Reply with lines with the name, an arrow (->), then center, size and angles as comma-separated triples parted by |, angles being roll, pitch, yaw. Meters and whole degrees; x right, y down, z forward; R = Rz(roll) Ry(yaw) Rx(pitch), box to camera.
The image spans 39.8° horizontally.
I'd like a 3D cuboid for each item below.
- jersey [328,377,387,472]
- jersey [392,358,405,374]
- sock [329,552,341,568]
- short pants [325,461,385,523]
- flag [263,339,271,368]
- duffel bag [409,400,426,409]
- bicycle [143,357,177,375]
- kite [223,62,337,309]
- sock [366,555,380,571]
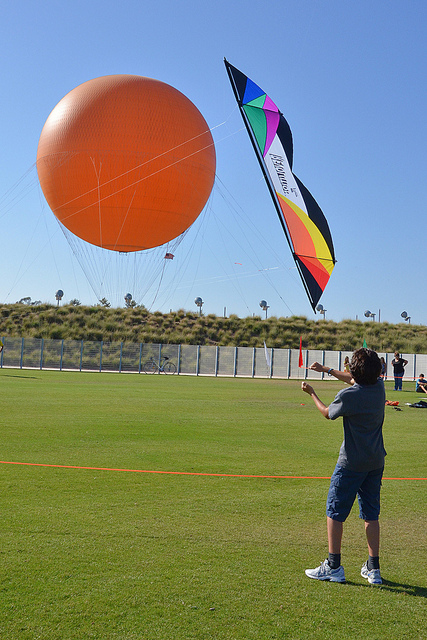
jersey -> 0.954, 0.680, 3.890 | 0.407, 0.613, 0.282 | 4, -4, 0
jersey -> 7.335, 1.860, 23.582 | 0.389, 0.638, 0.880 | 2, -4, 21
sock -> 0.762, 1.519, 3.712 | 0.055, 0.096, 0.087 | 1, 2, 7
short pants -> 0.904, 1.129, 3.849 | 0.370, 0.368, 0.209 | 6, -4, -20
flag -> 3.041, 1.943, 33.507 | 0.263, 1.581, 0.351 | -4, 1, -19
duffel bag -> 5.921, 2.478, 17.159 | 0.444, 0.173, 0.364 | 4, -4, 19
bicycle -> -2.975, 2.630, 33.466 | 1.584, 1.157, 0.869 | -1, -2, -2
kite -> 2.052, -3.564, 16.918 | 0.952, 6.015, 4.188 | 0, -5, 43
sock -> 1.015, 1.555, 3.764 | 0.074, 0.102, 0.080 | 3, -4, 10
